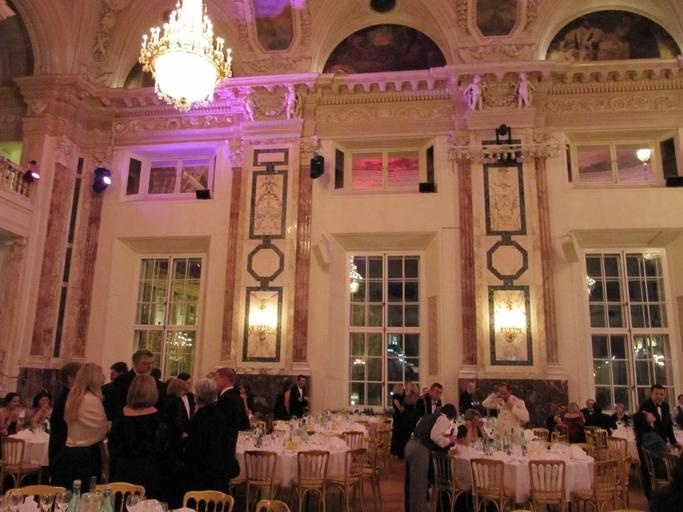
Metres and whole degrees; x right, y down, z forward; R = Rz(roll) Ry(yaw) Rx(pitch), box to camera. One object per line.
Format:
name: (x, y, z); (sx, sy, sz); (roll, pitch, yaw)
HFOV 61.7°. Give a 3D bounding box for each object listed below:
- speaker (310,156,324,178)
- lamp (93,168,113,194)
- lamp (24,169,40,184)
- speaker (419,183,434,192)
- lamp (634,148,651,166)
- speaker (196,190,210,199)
speaker: (-0.575, -2.076, 13.396); (0.334, 0.545, 0.500); (0, -15, 1)
lamp: (-5.867, -1.862, 14.022); (0.421, 0.591, 0.459); (7, -17, -24)
lamp: (-7.145, -1.842, 13.216); (0.296, 0.301, 0.068); (0, -35, -20)
speaker: (2.000, -1.597, 13.364); (0.364, 0.201, 0.245); (1, 1, 3)
lamp: (7.089, -2.346, 13.429); (0.363, 0.360, 0.343); (-1, 4, -15)
speaker: (-3.406, -1.510, 14.041); (0.293, 0.217, 0.203); (2, -3, -3)
